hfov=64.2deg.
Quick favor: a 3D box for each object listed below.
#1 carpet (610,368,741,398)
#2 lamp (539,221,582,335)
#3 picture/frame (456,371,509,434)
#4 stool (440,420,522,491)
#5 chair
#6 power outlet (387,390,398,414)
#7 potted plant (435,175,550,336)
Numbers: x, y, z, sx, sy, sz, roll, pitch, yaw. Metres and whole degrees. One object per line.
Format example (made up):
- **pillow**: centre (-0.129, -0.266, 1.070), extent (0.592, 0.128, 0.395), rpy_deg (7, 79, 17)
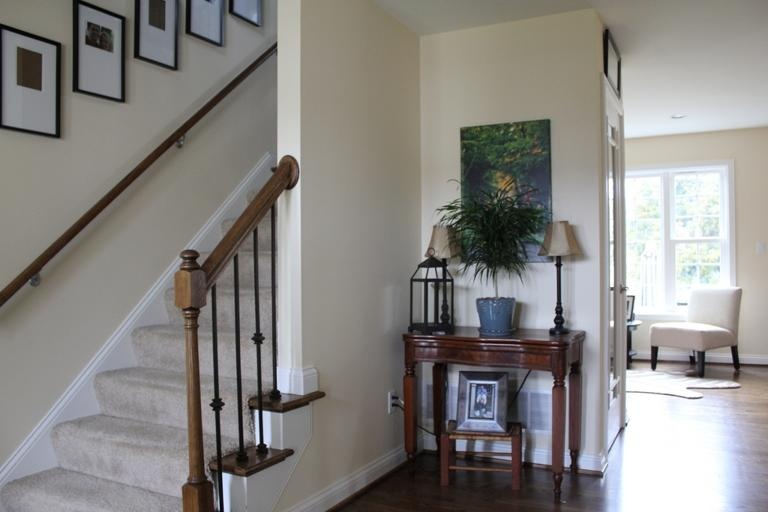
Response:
- **carpet**: centre (3.358, 1.433, 6.901), extent (1.160, 0.089, 1.383), rpy_deg (0, -2, 25)
- **lamp**: centre (1.283, 0.144, 4.480), extent (0.287, 0.829, 0.338), rpy_deg (1, -2, 18)
- **picture/frame**: centre (0.703, 1.053, 4.408), extent (0.391, 0.485, 0.051), rpy_deg (1, -25, 8)
- **stool**: centre (0.699, 1.402, 4.434), extent (0.595, 0.417, 0.608), rpy_deg (1, -2, 12)
- **chair**: centre (3.888, 0.901, 7.662), extent (0.932, 1.057, 0.814), rpy_deg (2, -2, -31)
- **power outlet**: centre (0.054, 1.083, 4.583), extent (0.022, 0.169, 0.122), rpy_deg (0, -2, 35)
- **potted plant**: centre (0.797, -0.018, 4.623), extent (0.817, 1.186, 0.478), rpy_deg (1, -2, 16)
